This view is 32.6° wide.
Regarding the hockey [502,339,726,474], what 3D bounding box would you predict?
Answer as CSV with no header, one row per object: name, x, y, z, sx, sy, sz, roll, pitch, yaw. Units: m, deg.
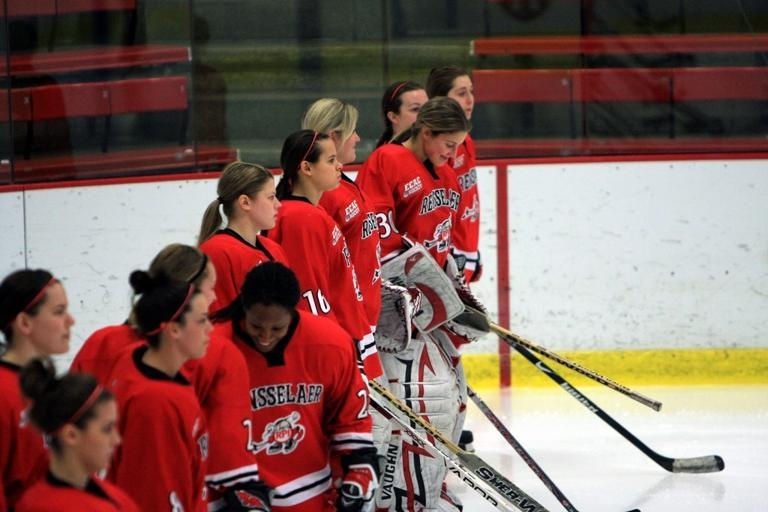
hockey,1.672,1.079,9.263,1.379,0.160,0.180,31,-19,8
